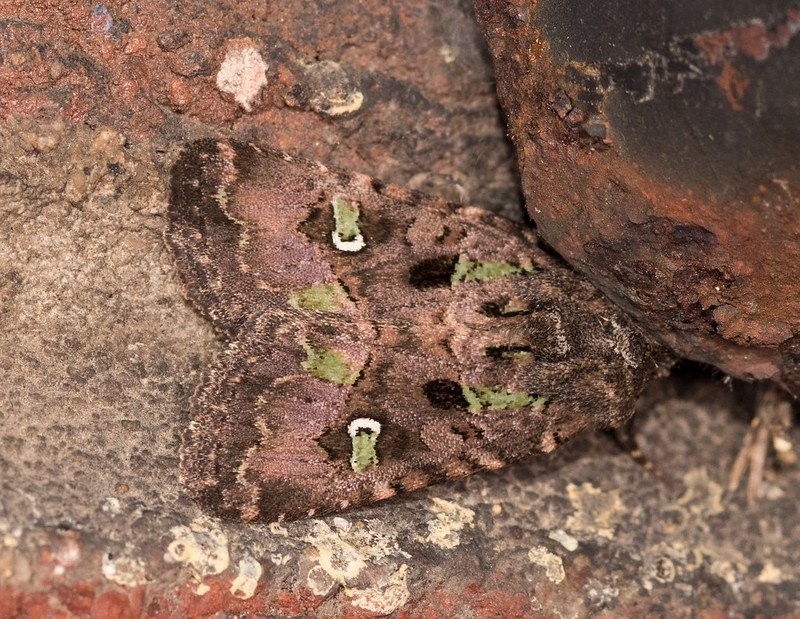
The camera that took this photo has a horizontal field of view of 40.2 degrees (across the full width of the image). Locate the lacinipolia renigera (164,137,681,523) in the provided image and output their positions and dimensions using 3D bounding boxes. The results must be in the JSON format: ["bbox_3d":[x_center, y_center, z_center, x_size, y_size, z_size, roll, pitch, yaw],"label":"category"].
[{"bbox_3d":[0.070,0.159,4.558,2.468,0.553,1.243,4,79,-37],"label":"lacinipolia renigera"}]
